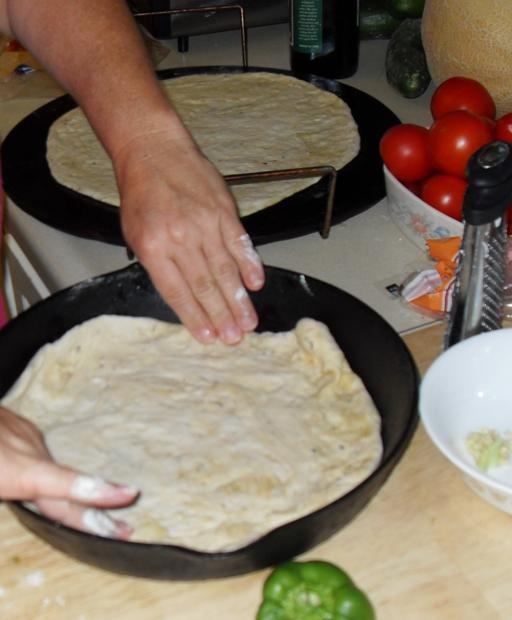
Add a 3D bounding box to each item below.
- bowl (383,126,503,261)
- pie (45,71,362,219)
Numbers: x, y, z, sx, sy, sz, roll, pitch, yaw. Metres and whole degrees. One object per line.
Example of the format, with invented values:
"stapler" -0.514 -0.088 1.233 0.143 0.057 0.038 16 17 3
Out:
"bowl" 0.282 -0.176 0.947 0.180 0.083 0.185 -4 52 5
"pie" -0.106 -0.379 1.228 0.511 0.064 0.480 -16 35 -21
